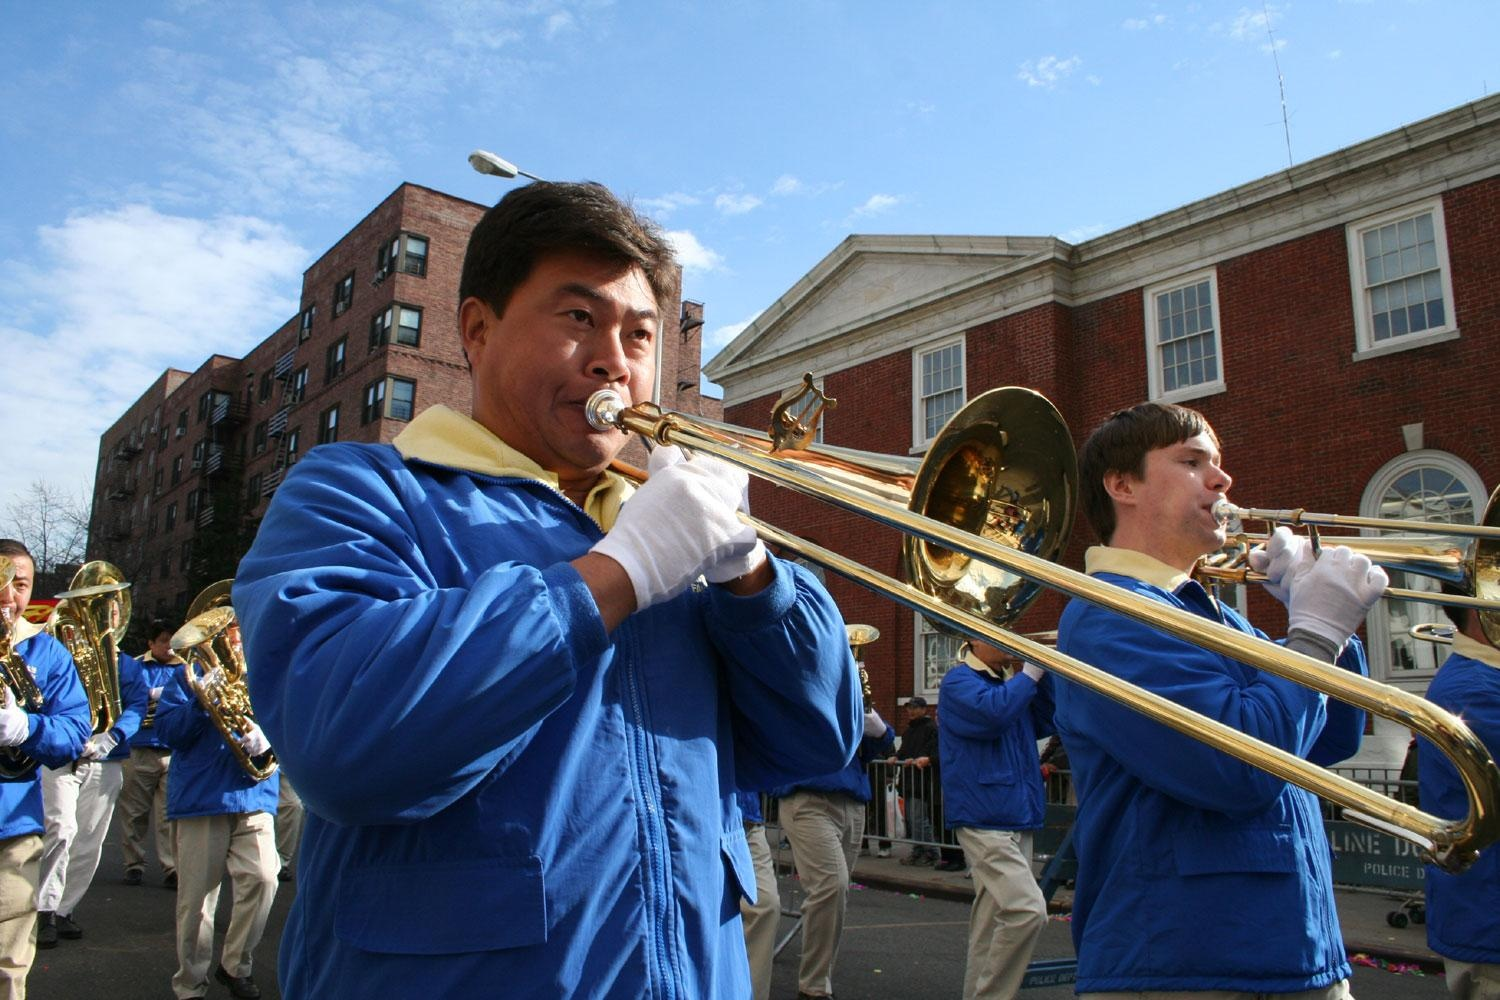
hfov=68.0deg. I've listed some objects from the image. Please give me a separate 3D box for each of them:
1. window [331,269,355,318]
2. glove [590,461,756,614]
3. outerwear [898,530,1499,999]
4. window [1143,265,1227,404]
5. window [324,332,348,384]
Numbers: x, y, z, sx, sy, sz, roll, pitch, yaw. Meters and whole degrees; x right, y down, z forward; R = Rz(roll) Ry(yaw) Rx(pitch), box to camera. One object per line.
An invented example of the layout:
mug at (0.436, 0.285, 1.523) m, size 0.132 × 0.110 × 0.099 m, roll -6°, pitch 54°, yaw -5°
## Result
window at (-13.986, -7.127, 38.453) m, size 0.208 × 1.873 × 2.013 m, roll 5°, pitch -4°, yaw -36°
glove at (-0.183, 0.072, 3.382) m, size 0.516 × 0.373 × 0.213 m, roll -32°, pitch -31°, yaw -21°
outerwear at (1.780, 0.984, 4.771) m, size 1.730 × 2.594 × 2.047 m, roll -20°, pitch -38°, yaw 32°
window at (7.039, -2.618, 18.082) m, size 0.326 × 2.054 × 1.298 m, roll 10°, pitch -13°, yaw -32°
window at (-14.236, -4.897, 38.497) m, size 0.265 × 1.991 × 1.799 m, roll 9°, pitch -12°, yaw -35°
